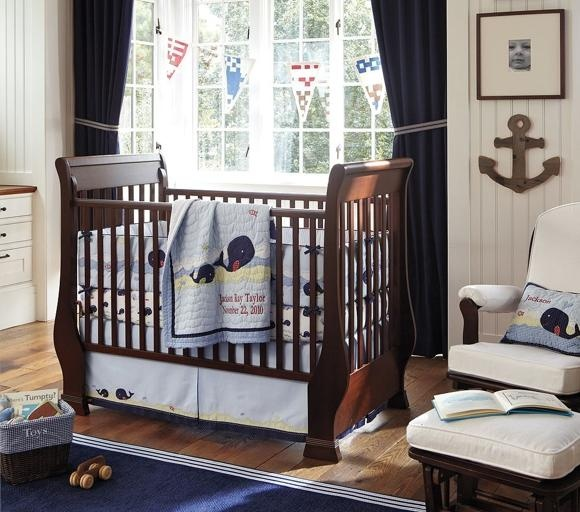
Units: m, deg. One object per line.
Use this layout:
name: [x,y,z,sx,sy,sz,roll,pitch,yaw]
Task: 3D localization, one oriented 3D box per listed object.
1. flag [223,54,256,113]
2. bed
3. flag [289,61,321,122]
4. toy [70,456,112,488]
flag: [-0.375,-1.250,4.267,0.221,0.449,0.032,5,46,-4]
bed: [-0.263,0.152,2.835,1.439,1.203,0.866,4,7,24]
flag: [0.091,-1.123,4.014,0.194,0.363,0.061,1,7,9]
toy: [-0.703,0.767,2.108,0.087,0.084,0.118,-8,2,33]
